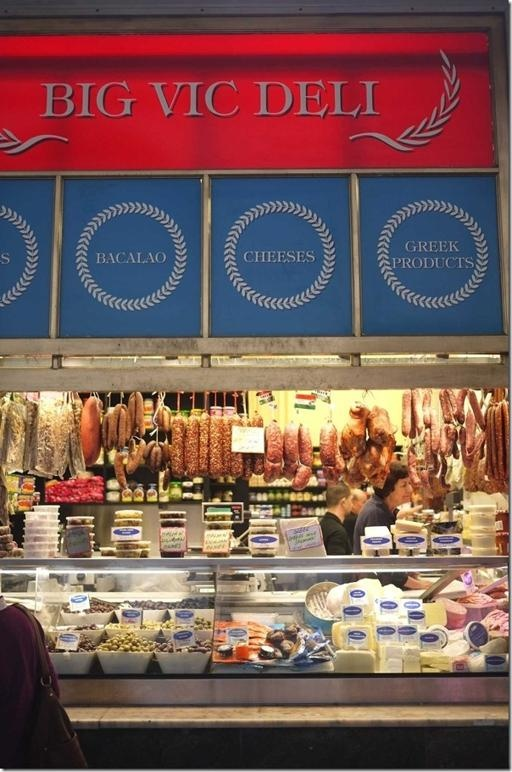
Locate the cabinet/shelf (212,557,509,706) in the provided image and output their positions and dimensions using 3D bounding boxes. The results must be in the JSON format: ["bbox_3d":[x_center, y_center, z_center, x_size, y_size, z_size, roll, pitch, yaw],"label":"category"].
[{"bbox_3d":[0.528,1.264,5.039,1.567,0.479,0.458,-3,-1,-3],"label":"cabinet/shelf"}]

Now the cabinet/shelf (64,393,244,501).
[{"bbox_3d":[-0.584,0.269,5.868,1.134,1.169,0.343,-3,4,1],"label":"cabinet/shelf"}]
